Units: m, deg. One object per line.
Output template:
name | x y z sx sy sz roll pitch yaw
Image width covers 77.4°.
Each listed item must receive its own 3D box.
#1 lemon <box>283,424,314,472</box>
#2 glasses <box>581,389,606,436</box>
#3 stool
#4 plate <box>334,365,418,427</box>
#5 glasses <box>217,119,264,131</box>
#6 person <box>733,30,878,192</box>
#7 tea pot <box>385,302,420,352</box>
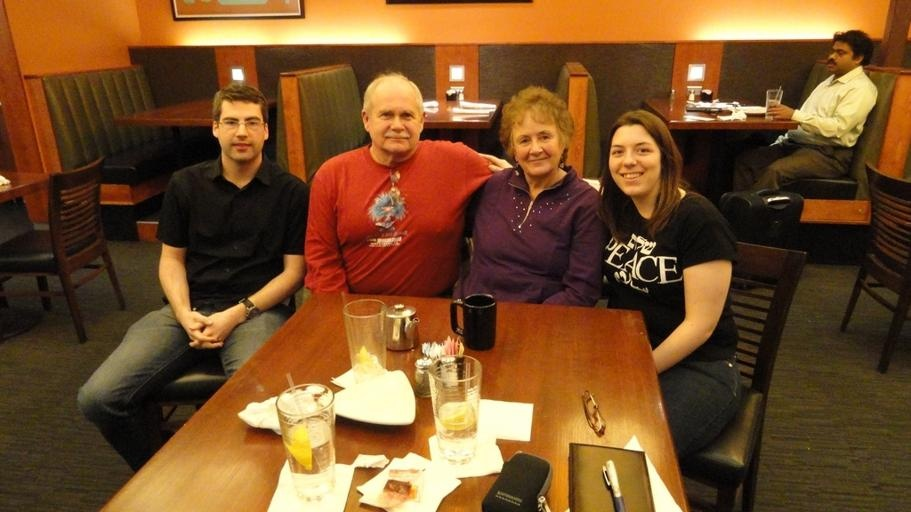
lemon | -0.622 0.761 2.248 0.131 0.167 0.044 -2 4 10
glasses | 0.602 0.677 2.456 0.084 0.115 0.180 -4 21 -2
stool | -1.254 0.553 3.012 0.591 0.836 0.484 6 31 -1
plate | -0.356 0.628 2.480 0.339 0.133 0.227 -5 21 -9
glasses | -1.304 -0.798 3.456 0.261 0.069 0.089 -8 22 -17
person | 3.478 -1.351 5.488 1.260 1.472 0.603 -10 25 -17
tea pot | -0.249 0.338 2.762 0.234 0.174 0.170 11 22 28
